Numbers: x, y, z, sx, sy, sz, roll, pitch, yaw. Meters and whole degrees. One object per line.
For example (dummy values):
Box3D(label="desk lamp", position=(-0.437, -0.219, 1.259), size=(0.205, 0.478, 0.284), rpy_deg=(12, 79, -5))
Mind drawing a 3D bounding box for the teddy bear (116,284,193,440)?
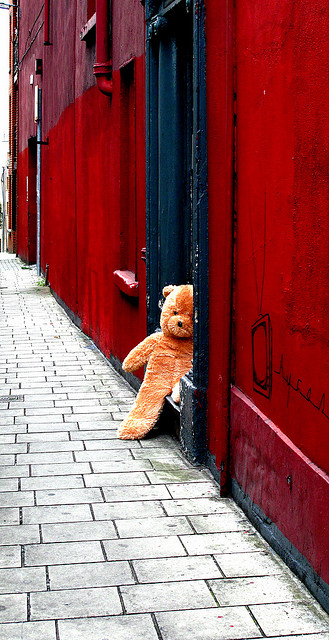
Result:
Box3D(label="teddy bear", position=(-0.024, 0.305, 4.450), size=(0.433, 1.188, 0.530), rpy_deg=(-6, 18, -28))

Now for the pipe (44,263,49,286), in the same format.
Box3D(label="pipe", position=(-2.873, -1.092, 15.713), size=(0.063, 0.498, 0.825), rpy_deg=(-1, 3, -13))
